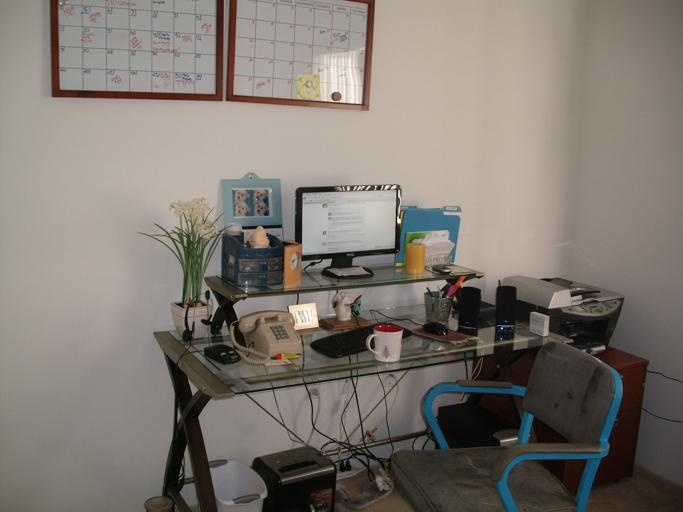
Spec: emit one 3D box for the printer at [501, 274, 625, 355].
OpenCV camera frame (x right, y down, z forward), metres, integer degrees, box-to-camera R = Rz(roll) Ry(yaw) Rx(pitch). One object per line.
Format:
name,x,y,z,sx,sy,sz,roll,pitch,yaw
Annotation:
printer,1.331,0.384,3.242,0.631,0.432,0.439,-5,19,-31

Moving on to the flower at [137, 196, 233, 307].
flower,-0.758,0.014,2.671,0.403,0.490,0.418,1,-1,1

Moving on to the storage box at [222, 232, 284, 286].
storage box,-0.449,0.004,2.626,0.218,0.217,0.294,-5,10,-33

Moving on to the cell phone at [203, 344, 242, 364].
cell phone,-0.572,0.445,2.451,0.239,0.048,0.116,10,15,44

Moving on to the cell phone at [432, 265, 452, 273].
cell phone,0.570,0.075,3.004,0.051,0.019,0.067,0,16,-10

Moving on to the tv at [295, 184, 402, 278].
tv,0.016,-0.147,2.841,0.483,0.345,0.139,-4,8,-25

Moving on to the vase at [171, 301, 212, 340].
vase,-0.733,0.311,2.596,0.189,0.153,0.149,-1,9,-14

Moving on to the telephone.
telephone,-0.353,0.378,2.489,0.292,0.143,0.244,-2,8,-39

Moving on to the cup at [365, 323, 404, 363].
cup,0.181,0.411,2.533,0.196,0.146,0.127,-4,12,-23

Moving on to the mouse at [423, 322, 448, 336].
mouse,0.505,0.375,2.776,0.060,0.035,0.101,-10,18,-40

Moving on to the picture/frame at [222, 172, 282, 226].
picture/frame,-0.490,-0.301,2.798,0.290,0.278,0.102,-2,4,-23
